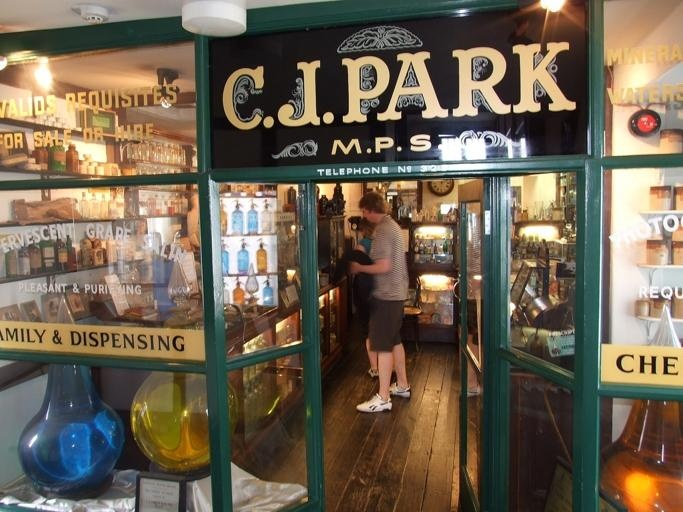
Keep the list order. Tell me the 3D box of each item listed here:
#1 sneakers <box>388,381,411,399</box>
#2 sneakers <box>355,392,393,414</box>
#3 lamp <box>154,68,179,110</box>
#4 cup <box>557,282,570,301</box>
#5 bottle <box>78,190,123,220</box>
[{"bbox_3d":[0.551,1.255,5.259,0.221,0.119,0.087,5,10,17],"label":"sneakers"},{"bbox_3d":[0.307,1.295,4.980,0.352,0.196,0.132,1,3,-5],"label":"sneakers"},{"bbox_3d":[-0.898,-0.881,2.908,0.117,0.218,0.119,-6,-5,39],"label":"lamp"},{"bbox_3d":[1.055,0.167,2.639,0.054,0.120,0.058,0,4,0],"label":"cup"},{"bbox_3d":[-1.259,-0.274,2.943,0.124,0.147,0.048,1,5,2],"label":"bottle"}]
